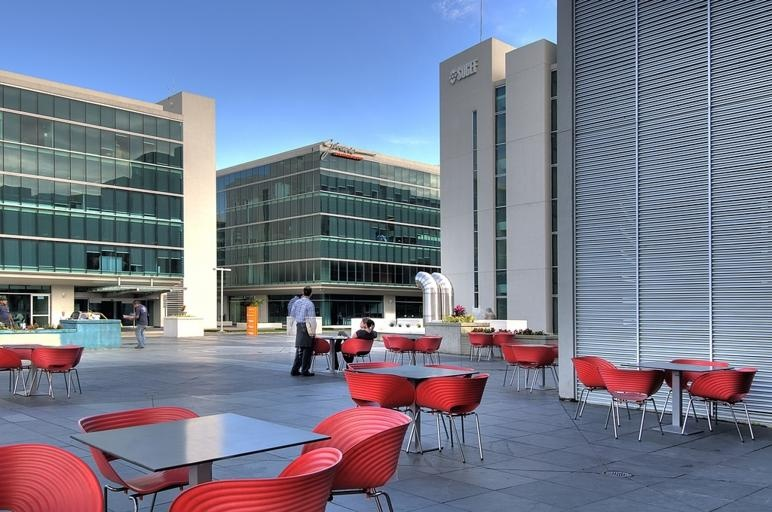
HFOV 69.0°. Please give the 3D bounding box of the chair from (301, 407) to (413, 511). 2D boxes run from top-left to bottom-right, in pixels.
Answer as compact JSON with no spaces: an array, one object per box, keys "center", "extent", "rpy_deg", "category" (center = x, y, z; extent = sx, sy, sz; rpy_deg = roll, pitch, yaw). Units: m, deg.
[{"center":[-0.204,2.025,6.014],"extent":[1.152,1.199,1.235],"rpy_deg":[5,-11,-21],"category":"chair"}]
